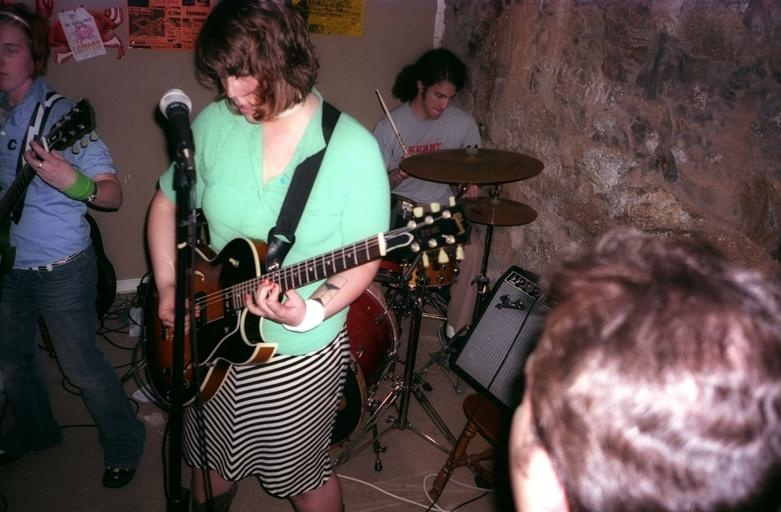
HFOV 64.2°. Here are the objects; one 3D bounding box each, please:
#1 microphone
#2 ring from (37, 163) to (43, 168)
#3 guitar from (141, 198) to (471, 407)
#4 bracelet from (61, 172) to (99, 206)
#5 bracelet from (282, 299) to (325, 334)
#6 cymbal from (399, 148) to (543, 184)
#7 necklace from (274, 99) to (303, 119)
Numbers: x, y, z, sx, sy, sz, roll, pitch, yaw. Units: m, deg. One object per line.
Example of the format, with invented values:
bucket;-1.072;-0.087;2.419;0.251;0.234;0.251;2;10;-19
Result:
microphone;-0.845;-0.479;2.457;0.124;0.121;0.458;-15;60;2
ring;-1.690;-0.435;2.991;0.015;0.021;0.020;8;17;10
guitar;-0.419;0.230;2.916;1.271;0.541;0.187;-17;-8;20
bracelet;-1.562;-0.341;3.130;0.131;0.122;0.152;-30;19;-19
bracelet;-0.345;0.255;2.552;0.152;0.062;0.118;-24;16;16
cymbal;0.488;-0.554;3.850;0.863;0.216;0.542;5;17;0
necklace;-0.420;-0.630;2.580;0.083;0.021;0.086;-18;19;35
